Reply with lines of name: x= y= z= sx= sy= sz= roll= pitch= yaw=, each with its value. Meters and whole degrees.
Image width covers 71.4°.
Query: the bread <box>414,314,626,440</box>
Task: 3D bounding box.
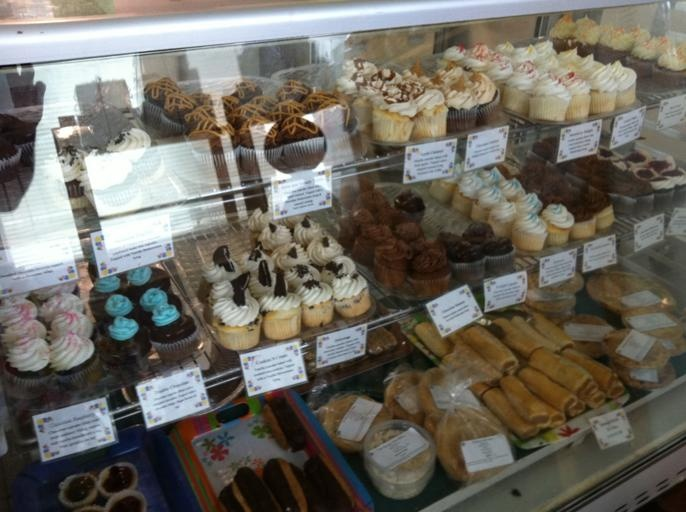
bread: x=0.870 y=0.594 z=2.385 sx=0.619 sy=0.209 sz=0.724 roll=-20 pitch=40 yaw=-31

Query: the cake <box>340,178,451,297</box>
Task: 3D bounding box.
cake: x=0.240 y=-0.071 z=2.363 sx=0.674 sy=0.259 sz=0.423 roll=44 pitch=40 yaw=17

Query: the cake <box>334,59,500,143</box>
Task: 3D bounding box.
cake: x=0.341 y=-0.652 z=2.164 sx=0.603 sy=0.210 sz=0.370 roll=-2 pitch=42 yaw=-10

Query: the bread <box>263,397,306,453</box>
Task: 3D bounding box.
bread: x=-0.280 y=0.782 z=2.195 sx=0.132 sy=0.076 sz=0.228 roll=6 pitch=37 yaw=-48

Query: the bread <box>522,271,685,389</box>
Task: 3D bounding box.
bread: x=1.629 y=0.367 z=2.745 sx=0.721 sy=0.169 sz=0.749 roll=26 pitch=37 yaw=27

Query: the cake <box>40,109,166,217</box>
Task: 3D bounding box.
cake: x=-0.821 y=-0.352 z=1.596 sx=0.356 sy=0.145 sz=0.326 roll=-15 pitch=72 yaw=-23

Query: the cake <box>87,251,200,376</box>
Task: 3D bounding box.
cake: x=-0.825 y=0.279 z=1.947 sx=0.336 sy=0.189 sz=0.501 roll=-24 pitch=66 yaw=-37

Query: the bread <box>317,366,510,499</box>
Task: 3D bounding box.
bread: x=0.358 y=0.799 z=2.209 sx=0.580 sy=0.164 sz=0.548 roll=-21 pitch=50 yaw=-30

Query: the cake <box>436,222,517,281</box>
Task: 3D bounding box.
cake: x=0.687 y=-0.033 z=2.454 sx=0.358 sy=0.192 sz=0.251 roll=-14 pitch=16 yaw=-36

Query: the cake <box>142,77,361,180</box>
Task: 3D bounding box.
cake: x=-0.317 y=-0.505 z=1.830 sx=0.665 sy=0.204 sz=0.379 roll=-7 pitch=33 yaw=-26

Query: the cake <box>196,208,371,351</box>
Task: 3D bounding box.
cake: x=-0.271 y=0.151 z=2.088 sx=0.705 sy=0.238 sz=0.579 roll=11 pitch=39 yaw=-9
